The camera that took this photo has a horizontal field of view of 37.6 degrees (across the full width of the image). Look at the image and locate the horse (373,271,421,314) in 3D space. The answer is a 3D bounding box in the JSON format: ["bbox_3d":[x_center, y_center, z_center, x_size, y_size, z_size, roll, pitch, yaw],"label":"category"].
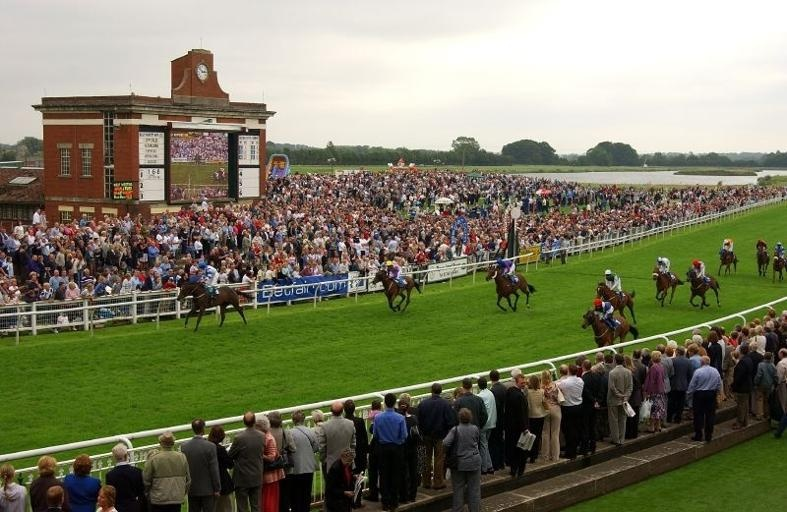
[{"bbox_3d":[0.282,1.234,40.738,0.702,1.591,2.859,-4,1,35],"label":"horse"}]

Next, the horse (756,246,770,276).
[{"bbox_3d":[15.827,0.212,49.349,0.560,1.320,2.459,-4,-5,24],"label":"horse"}]

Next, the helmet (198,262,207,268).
[{"bbox_3d":[-6.271,0.335,38.168,0.236,0.196,0.225,7,-10,-35],"label":"helmet"}]

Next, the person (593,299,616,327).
[{"bbox_3d":[6.432,1.747,35.106,0.509,0.742,0.771,-8,17,-40],"label":"person"}]

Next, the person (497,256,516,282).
[{"bbox_3d":[4.094,0.543,41.103,0.722,0.813,0.642,4,13,5],"label":"person"}]

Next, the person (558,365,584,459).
[{"bbox_3d":[4.359,3.810,28.255,0.630,2.209,0.666,4,13,6],"label":"person"}]

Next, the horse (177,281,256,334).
[{"bbox_3d":[-5.839,1.532,37.375,1.279,1.600,1.974,13,17,39],"label":"horse"}]

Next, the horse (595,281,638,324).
[{"bbox_3d":[7.562,1.588,38.705,0.615,1.353,2.488,-4,-3,40],"label":"horse"}]

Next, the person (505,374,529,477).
[{"bbox_3d":[2.970,4.021,27.499,0.504,2.417,0.553,-3,15,-23],"label":"person"}]

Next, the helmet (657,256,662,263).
[{"bbox_3d":[10.044,0.161,43.339,0.207,0.120,0.276,10,12,13],"label":"helmet"}]

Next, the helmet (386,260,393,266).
[{"bbox_3d":[-0.092,0.275,40.222,0.208,0.138,0.194,0,2,9],"label":"helmet"}]

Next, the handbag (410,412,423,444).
[{"bbox_3d":[0.530,3.978,26.686,0.276,0.650,0.346,2,13,-2],"label":"handbag"}]

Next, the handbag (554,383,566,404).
[{"bbox_3d":[4.094,3.340,28.044,0.237,0.495,0.431,4,13,8],"label":"handbag"}]

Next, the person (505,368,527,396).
[{"bbox_3d":[2.990,3.035,27.847,0.762,0.523,0.461,-1,-1,-34],"label":"person"}]

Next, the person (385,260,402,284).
[{"bbox_3d":[0.107,0.573,40.222,0.440,0.784,0.373,-9,7,28],"label":"person"}]

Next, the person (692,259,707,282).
[{"bbox_3d":[11.190,0.553,41.971,0.532,0.702,0.324,2,13,-1],"label":"person"}]
